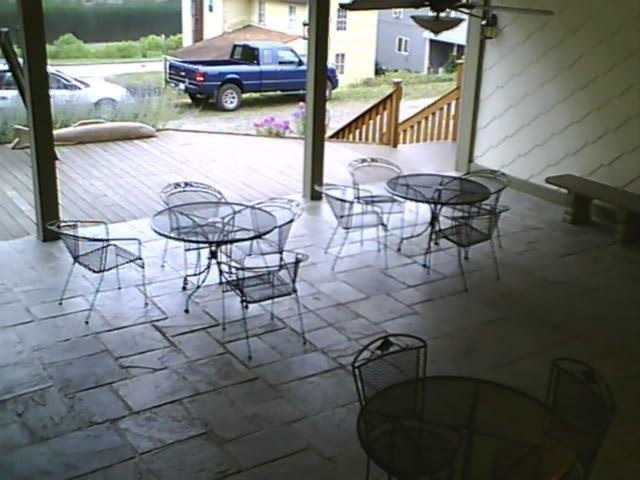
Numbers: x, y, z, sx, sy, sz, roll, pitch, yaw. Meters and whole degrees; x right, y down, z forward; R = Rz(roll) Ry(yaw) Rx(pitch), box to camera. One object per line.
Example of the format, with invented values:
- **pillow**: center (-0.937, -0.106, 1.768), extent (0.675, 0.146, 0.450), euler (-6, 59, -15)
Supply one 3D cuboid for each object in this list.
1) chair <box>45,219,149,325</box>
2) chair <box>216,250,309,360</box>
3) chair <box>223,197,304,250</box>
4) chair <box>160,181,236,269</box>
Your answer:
- **chair**: center (-2.292, 0.360, 5.294), extent (0.678, 0.870, 0.801), euler (30, 36, 36)
- **chair**: center (-0.538, 0.635, 4.812), extent (0.672, 0.850, 0.621), euler (-8, 45, -18)
- **chair**: center (-0.575, -0.073, 5.667), extent (0.732, 0.325, 0.875), euler (6, 31, 13)
- **chair**: center (-1.342, -0.133, 5.643), extent (0.893, 1.001, 0.763), euler (-12, 30, -27)
